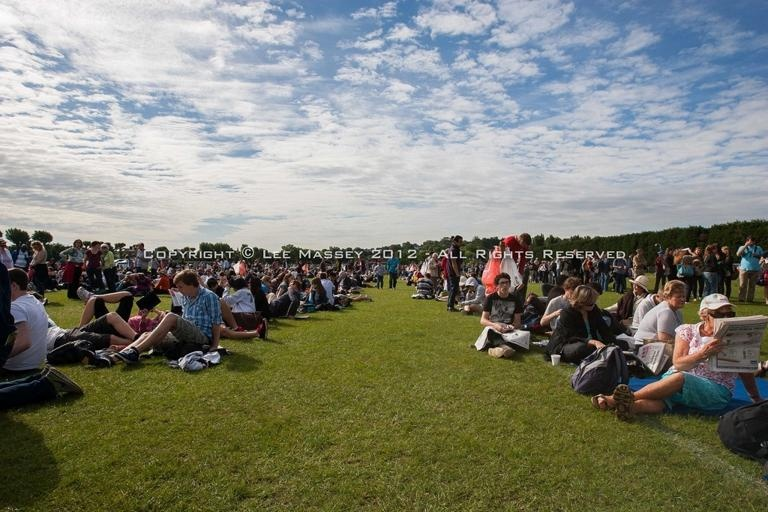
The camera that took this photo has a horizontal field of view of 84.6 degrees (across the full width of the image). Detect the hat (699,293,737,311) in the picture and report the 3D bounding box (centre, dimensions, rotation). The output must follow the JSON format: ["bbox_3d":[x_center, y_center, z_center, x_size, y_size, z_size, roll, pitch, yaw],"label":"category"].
[{"bbox_3d":[5.197,0.724,6.659,0.330,0.196,0.414,1,-12,10],"label":"hat"}]

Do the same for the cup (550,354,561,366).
[{"bbox_3d":[3.591,2.173,8.850,0.241,0.154,0.219,-2,3,0],"label":"cup"}]

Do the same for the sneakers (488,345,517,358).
[{"bbox_3d":[2.680,2.166,9.540,0.596,0.229,0.237,6,-12,-25],"label":"sneakers"}]

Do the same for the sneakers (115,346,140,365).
[{"bbox_3d":[-5.007,1.963,8.288,0.275,0.178,0.543,-5,8,-17],"label":"sneakers"}]

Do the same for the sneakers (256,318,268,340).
[{"bbox_3d":[-3.310,1.986,11.391,0.319,0.625,0.230,4,-3,0],"label":"sneakers"}]

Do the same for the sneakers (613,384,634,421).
[{"bbox_3d":[3.598,2.186,6.371,0.280,0.508,0.270,-11,-20,42],"label":"sneakers"}]
